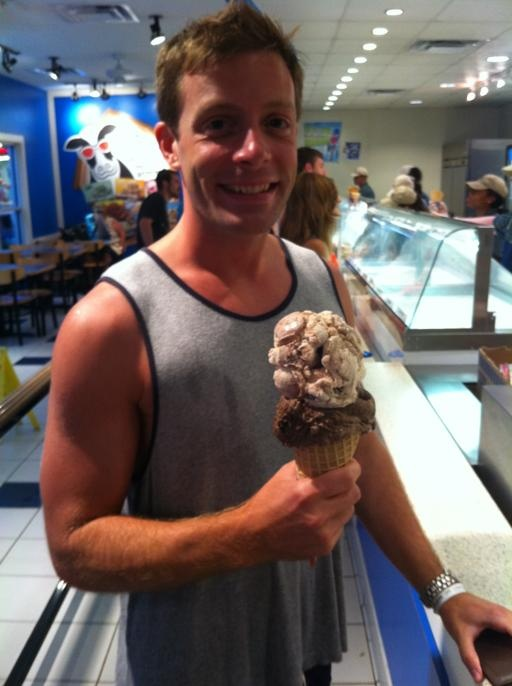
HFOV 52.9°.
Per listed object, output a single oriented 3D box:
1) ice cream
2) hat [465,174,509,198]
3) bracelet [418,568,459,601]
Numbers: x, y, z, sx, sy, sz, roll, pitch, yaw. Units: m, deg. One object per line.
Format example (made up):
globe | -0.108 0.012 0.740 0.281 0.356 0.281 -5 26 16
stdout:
ice cream | 0.086 0.061 0.657 0.130 0.214 0.157 -1 17 6
hat | 2.318 -1.568 5.121 0.350 0.172 0.230 15 22 0
bracelet | 0.281 0.378 0.796 0.049 0.037 0.055 -27 7 36
